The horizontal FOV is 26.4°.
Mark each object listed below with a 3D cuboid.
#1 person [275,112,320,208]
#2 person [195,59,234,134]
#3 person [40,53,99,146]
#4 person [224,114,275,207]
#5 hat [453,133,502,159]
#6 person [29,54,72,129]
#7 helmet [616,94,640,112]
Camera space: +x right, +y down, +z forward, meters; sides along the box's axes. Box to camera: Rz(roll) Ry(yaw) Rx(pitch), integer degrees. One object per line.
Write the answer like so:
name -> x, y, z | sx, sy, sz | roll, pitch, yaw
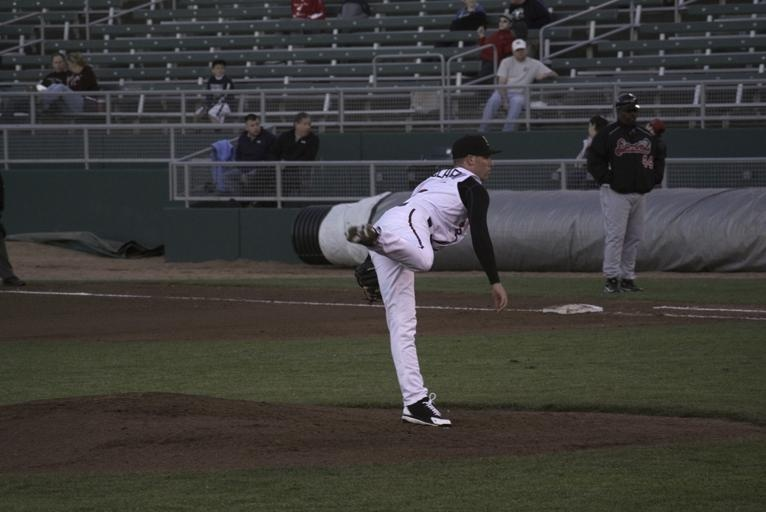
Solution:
person -> -1.632, -1.928, 30.694 | 0.787, 1.537, 0.366 | 1, 8, -3
person -> -3.410, -3.356, 33.239 | 0.781, 1.266, 1.669 | 0, 6, -7
person -> -6.675, -3.452, 33.907 | 1.047, 1.738, 1.417 | -11, -9, 10
person -> -2.424, -1.833, 30.955 | 0.815, 1.709, 0.680 | 2, 7, 4
hat -> 1.271, -1.506, 22.280 | 0.581, 0.236, 0.331 | -5, 9, -1
person -> -6.829, -3.502, 33.831 | 0.658, 1.372, 1.885 | 0, 7, -11
helmet -> 3.893, -2.471, 26.189 | 0.403, 0.258, 0.269 | 17, -10, -19
